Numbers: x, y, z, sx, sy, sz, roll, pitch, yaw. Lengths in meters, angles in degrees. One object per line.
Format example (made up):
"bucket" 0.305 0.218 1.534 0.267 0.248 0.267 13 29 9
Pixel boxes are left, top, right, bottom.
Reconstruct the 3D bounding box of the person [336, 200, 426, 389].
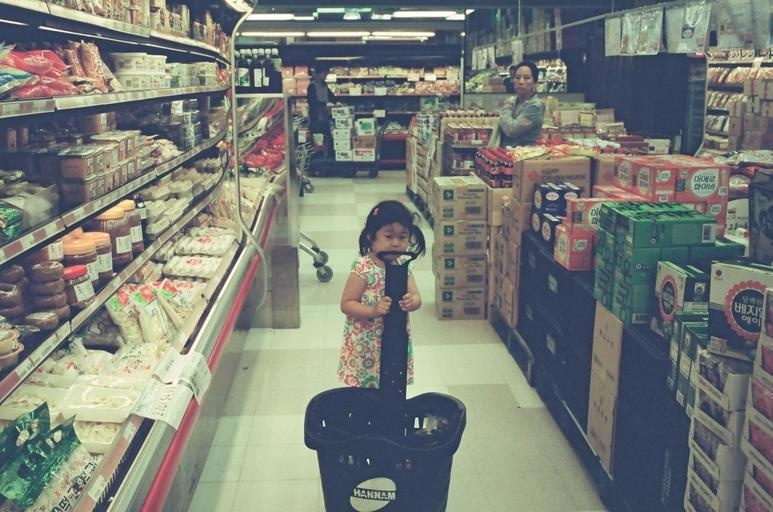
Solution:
"person" -0.035 0.258 2.819 0.398 1.013 0.643 -1 16 -1

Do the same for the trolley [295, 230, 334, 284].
"trolley" -0.647 -0.018 5.720 0.285 0.440 0.422 -1 16 -4

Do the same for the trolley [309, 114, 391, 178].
"trolley" -0.725 -2.209 11.619 1.295 1.105 1.286 1 18 1

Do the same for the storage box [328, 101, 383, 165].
"storage box" -0.550 -2.324 11.741 1.003 1.296 1.354 0 15 0

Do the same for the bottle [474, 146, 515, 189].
"bottle" 0.878 -0.726 4.838 0.155 0.182 0.471 -1 15 -1

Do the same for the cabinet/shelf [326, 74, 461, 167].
"cabinet/shelf" 0.021 -2.500 10.961 2.687 2.370 0.849 -1 11 -4
